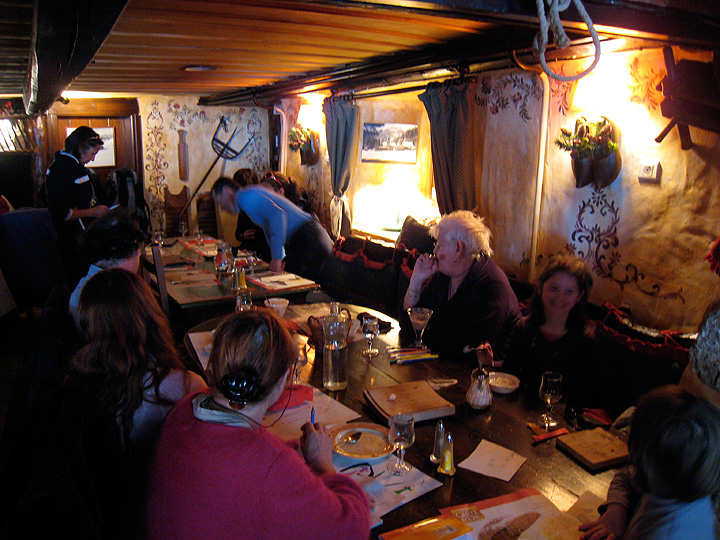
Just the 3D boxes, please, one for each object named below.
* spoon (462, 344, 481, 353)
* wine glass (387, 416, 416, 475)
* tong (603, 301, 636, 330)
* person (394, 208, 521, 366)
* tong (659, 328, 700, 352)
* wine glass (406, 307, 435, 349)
[{"bbox_3d":[0.600,0.427,2.812,0.096,0.019,0.055,-14,-10,18],"label":"spoon"},{"bbox_3d":[0.162,0.652,2.039,0.096,0.192,0.169,2,12,4],"label":"wine glass"},{"bbox_3d":[1.723,0.281,3.489,0.109,0.144,0.383,1,14,11],"label":"tong"},{"bbox_3d":[0.682,0.087,3.467,0.707,1.009,1.078,0,11,-9],"label":"person"},{"bbox_3d":[1.780,0.393,2.911,0.216,0.057,0.212,3,9,2],"label":"tong"},{"bbox_3d":[0.330,0.326,3.002,0.193,0.261,0.192,0,2,-6],"label":"wine glass"}]
